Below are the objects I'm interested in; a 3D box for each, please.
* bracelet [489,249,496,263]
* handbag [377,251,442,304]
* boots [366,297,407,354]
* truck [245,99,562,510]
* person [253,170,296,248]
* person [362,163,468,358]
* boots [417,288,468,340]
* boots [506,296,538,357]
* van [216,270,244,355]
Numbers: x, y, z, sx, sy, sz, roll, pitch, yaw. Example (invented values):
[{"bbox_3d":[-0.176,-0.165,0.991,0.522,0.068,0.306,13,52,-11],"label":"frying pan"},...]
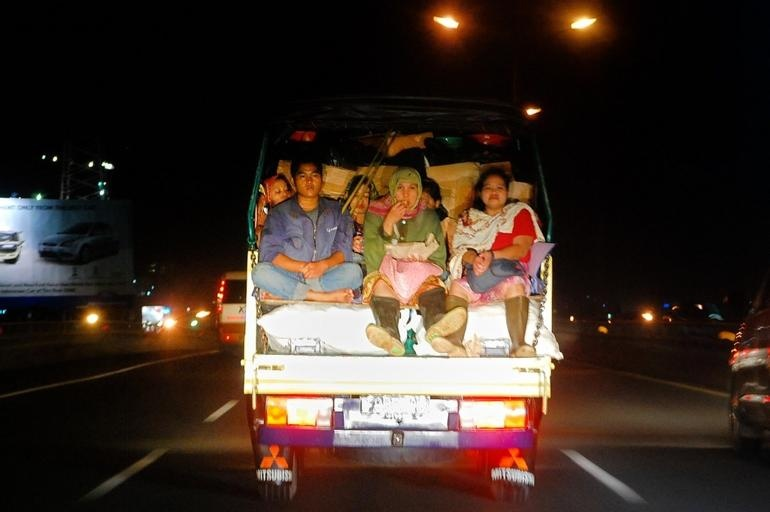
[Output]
[{"bbox_3d":[1.225,-0.006,7.001,0.084,0.096,0.087,2,8,-2],"label":"bracelet"},{"bbox_3d":[0.237,0.206,7.066,0.614,0.244,0.711,17,43,20],"label":"handbag"},{"bbox_3d":[-0.017,0.743,6.341,0.210,0.423,0.407,-27,32,22],"label":"boots"},{"bbox_3d":[0.009,0.299,8.225,4.280,4.960,5.231,-1,-4,12],"label":"truck"},{"bbox_3d":[-1.680,-0.714,8.948,0.702,1.030,0.375,12,-2,-42],"label":"person"},{"bbox_3d":[0.375,-0.022,6.853,0.920,1.293,2.256,-1,34,-5],"label":"person"},{"bbox_3d":[0.581,0.629,6.450,0.302,0.638,0.596,8,24,-18],"label":"boots"},{"bbox_3d":[1.386,0.723,6.316,0.281,0.598,0.609,-1,-4,10],"label":"boots"},{"bbox_3d":[-5.557,2.061,22.100,0.797,3.000,1.694,2,-4,-36],"label":"van"}]
